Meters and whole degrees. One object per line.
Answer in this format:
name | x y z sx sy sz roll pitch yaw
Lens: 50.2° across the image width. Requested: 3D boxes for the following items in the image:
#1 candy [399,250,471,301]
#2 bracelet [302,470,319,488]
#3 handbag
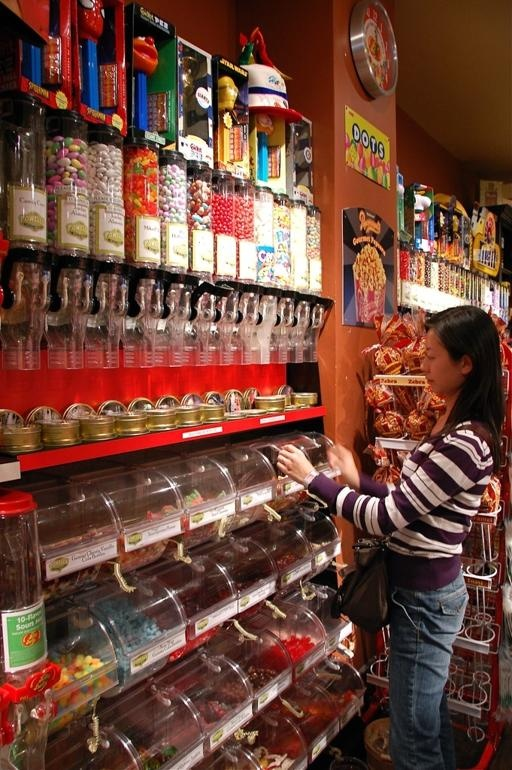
candy | 1.279 -0.796 3.971 0.312 0.433 0.649 5 8 27
bracelet | 0.160 0.275 1.611 0.020 0.036 0.035 34 30 14
handbag | 0.313 0.596 1.666 0.196 0.270 0.177 5 8 11
